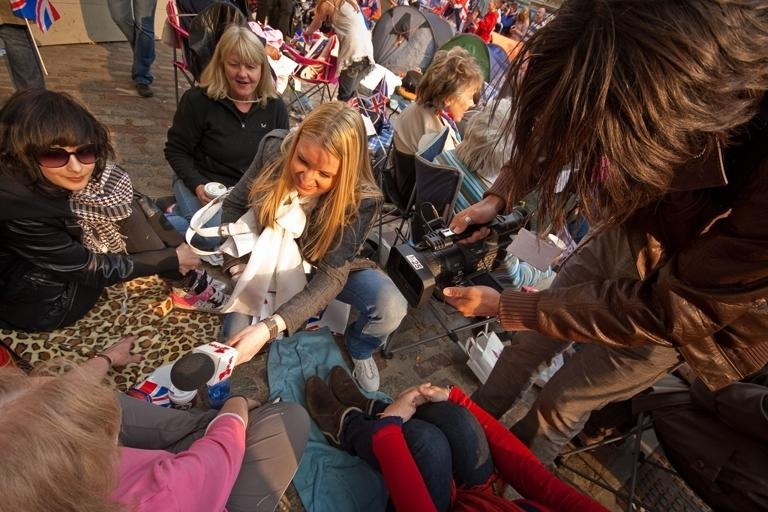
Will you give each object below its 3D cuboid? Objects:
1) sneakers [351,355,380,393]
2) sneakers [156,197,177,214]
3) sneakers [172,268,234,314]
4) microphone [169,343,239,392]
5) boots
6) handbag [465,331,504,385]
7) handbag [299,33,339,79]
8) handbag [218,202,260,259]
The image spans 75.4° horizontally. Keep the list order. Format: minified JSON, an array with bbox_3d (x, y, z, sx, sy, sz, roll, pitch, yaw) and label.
[{"bbox_3d":[-0.123,0.825,3.412,0.142,0.098,0.273,-18,81,-8],"label":"sneakers"},{"bbox_3d":[-1.764,-0.413,4.040,0.134,0.120,0.201,-3,56,-39],"label":"sneakers"},{"bbox_3d":[-1.289,0.237,3.495,0.399,0.244,0.233,1,58,-34],"label":"sneakers"},{"bbox_3d":[-0.986,0.625,2.728,0.335,0.195,0.218,-20,91,-26],"label":"microphone"},{"bbox_3d":[-0.271,0.983,3.145,0.316,0.179,0.501,-29,93,-37],"label":"boots"},{"bbox_3d":[0.723,0.756,3.592,0.289,0.175,0.220,50,18,-18],"label":"handbag"},{"bbox_3d":[-0.733,-2.279,5.786,0.195,0.537,0.540,7,42,-35],"label":"handbag"},{"bbox_3d":[-0.932,-0.139,3.035,0.116,0.256,0.260,21,28,-44],"label":"handbag"}]
